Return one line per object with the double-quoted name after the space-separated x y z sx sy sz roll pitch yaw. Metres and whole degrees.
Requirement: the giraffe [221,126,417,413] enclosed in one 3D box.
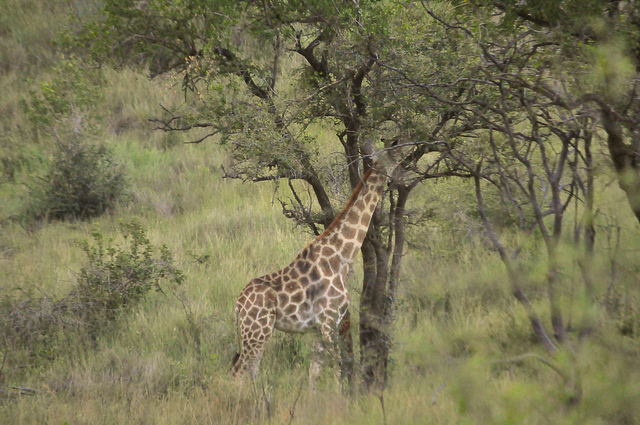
0.015 1.163 14.579 3.643 4.841 1.543 -18 -37 27 "giraffe"
